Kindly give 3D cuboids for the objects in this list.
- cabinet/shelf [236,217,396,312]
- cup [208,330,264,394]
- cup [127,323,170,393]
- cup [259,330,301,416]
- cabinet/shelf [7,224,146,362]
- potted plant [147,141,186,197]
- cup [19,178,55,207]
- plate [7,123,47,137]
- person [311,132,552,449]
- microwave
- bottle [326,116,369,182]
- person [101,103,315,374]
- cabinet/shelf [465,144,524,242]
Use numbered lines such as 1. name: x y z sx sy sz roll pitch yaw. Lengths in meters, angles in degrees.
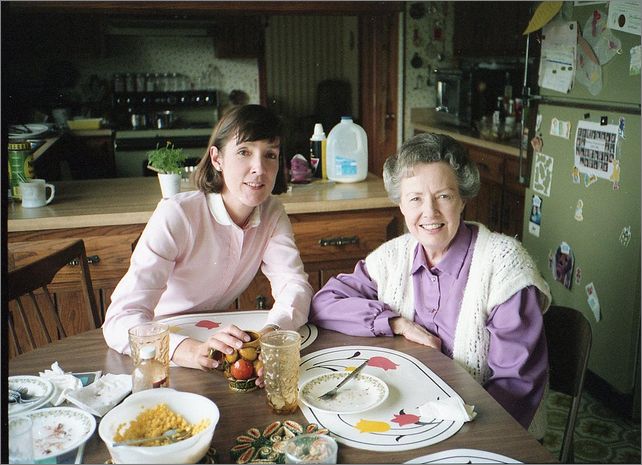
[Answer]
1. cabinet/shelf: -0.038 0.102 2.638 0.676 0.696 0.463 -2 4 -20
2. cup: -0.218 0.329 1.268 0.135 0.134 0.095 -1 9 -16
3. cup: -0.421 0.291 1.208 0.082 0.145 0.086 -11 -8 -2
4. cup: -0.094 0.322 1.189 0.091 0.163 0.104 -2 15 9
5. cabinet/shelf: -0.922 0.199 1.895 0.279 0.560 0.295 -8 35 -3
6. potted plant: -0.785 -0.314 2.599 0.200 0.319 0.210 -4 -4 -9
7. cup: -1.392 -0.189 2.502 0.149 0.118 0.101 -3 12 -30
8. plate: -2.403 -0.844 4.212 0.278 0.102 0.892 -12 17 -26
9. person: 0.346 0.300 1.612 0.646 1.104 0.578 -2 10 18
10. microwave: 1.384 -1.305 4.785 0.480 0.489 0.773 -6 23 -15
11. bottle: 0.150 -0.488 2.918 0.241 0.370 0.140 2 32 7
12. person: -0.327 -0.003 1.745 0.599 0.820 0.629 4 23 -21
13. cabinet/shelf: 1.130 -0.268 3.238 0.220 0.642 0.656 -1 8 -6
